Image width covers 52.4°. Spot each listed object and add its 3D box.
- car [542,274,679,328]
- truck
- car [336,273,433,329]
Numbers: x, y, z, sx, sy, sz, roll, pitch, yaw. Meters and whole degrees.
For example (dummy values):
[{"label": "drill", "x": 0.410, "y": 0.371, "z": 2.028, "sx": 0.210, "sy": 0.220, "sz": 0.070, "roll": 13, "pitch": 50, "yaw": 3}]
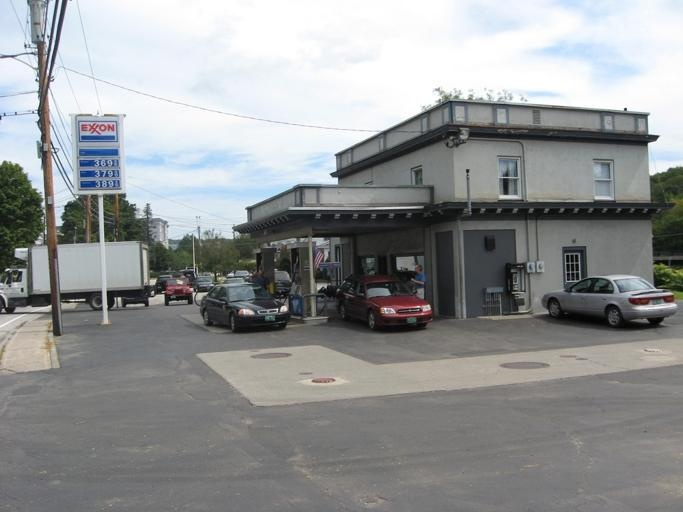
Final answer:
[{"label": "car", "x": 8.098, "y": 1.316, "z": 21.077, "sx": 1.589, "sy": 1.071, "sz": 3.364, "roll": 0, "pitch": 5, "yaw": -24}, {"label": "truck", "x": -12.584, "y": 1.025, "z": 32.704, "sx": 6.321, "sy": 3.247, "sz": 2.580, "roll": -1, "pitch": 4, "yaw": -3}, {"label": "car", "x": 1.211, "y": 1.406, "z": 21.944, "sx": 1.409, "sy": 0.984, "sz": 3.052, "roll": -1, "pitch": -1, "yaw": -23}]
